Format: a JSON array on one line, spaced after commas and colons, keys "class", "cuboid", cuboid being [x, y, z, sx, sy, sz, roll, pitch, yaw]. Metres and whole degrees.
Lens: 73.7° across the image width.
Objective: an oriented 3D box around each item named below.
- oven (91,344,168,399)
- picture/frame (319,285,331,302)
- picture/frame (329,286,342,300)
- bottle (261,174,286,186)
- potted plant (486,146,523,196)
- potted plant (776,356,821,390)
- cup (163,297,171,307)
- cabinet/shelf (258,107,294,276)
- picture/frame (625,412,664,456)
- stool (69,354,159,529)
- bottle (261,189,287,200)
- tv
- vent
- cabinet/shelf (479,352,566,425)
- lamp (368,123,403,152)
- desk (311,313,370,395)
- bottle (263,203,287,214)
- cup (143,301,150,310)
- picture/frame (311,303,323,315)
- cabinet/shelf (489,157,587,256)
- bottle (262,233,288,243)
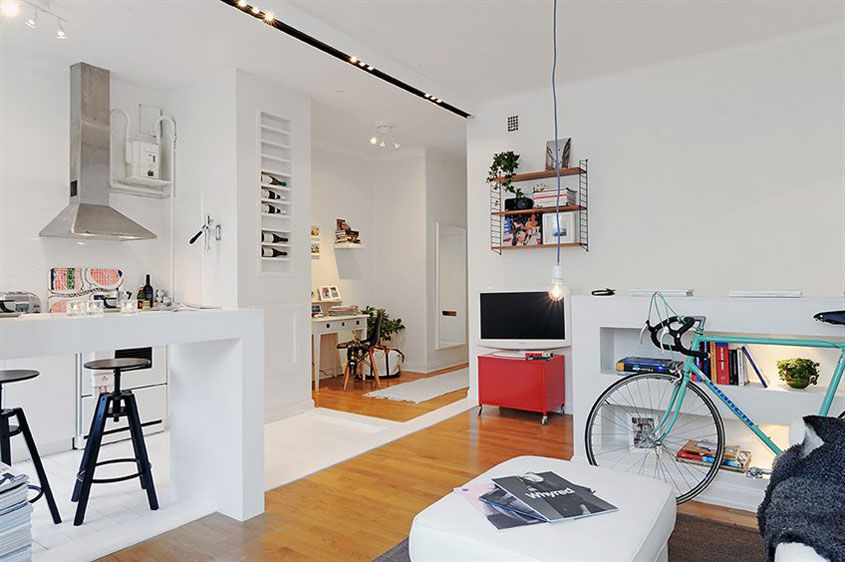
[{"class": "oven", "cuboid": [-2.522, 0.770, 4.780, 0.367, 0.465, 0.730, 1, 1, 44]}, {"class": "picture/frame", "cuboid": [-1.368, 0.177, 7.808, 0.084, 0.219, 0.232, -14, -8, 36]}, {"class": "picture/frame", "cuboid": [-1.245, 0.167, 7.936, 0.051, 0.172, 0.197, -10, -8, 32]}, {"class": "bottle", "cuboid": [-1.615, -1.091, 6.092, 0.118, 0.133, 0.316, 6, 12, 28]}, {"class": "potted plant", "cuboid": [0.916, -1.212, 6.307, 0.275, 0.496, 0.514, 4, -3, -40]}, {"class": "potted plant", "cuboid": [2.751, 0.665, 4.124, 0.243, 0.154, 0.234, -1, -4, -15]}, {"class": "cup", "cuboid": [-2.278, 0.182, 4.982, 0.050, 0.047, 0.051, -1, 5, 0]}, {"class": "cabinet/shelf", "cuboid": [-1.588, -1.061, 6.070, 0.398, 1.555, 0.183, 0, 6, -7]}, {"class": "picture/frame", "cuboid": [1.729, 1.194, 4.363, 0.200, 0.396, 0.535, 4, 12, 19]}, {"class": "stool", "cuboid": [-2.276, 1.107, 4.002, 0.619, 0.988, 0.629, 10, -5, -26]}, {"class": "bottle", "cuboid": [-1.621, -0.941, 6.097, 0.119, 0.118, 0.310, 8, 13, 35]}, {"class": "tv", "cuboid": [1.136, 0.462, 6.054, 0.757, 0.504, 0.204, -1, -4, 20]}, {"class": "vent", "cuboid": [-3.241, -1.256, 5.575, 0.588, 1.596, 0.869, 14, 13, 27]}, {"class": "cabinet/shelf", "cuboid": [1.049, 1.089, 6.057, 0.834, 0.532, 0.497, 0, 4, 34]}, {"class": "lamp", "cuboid": [-0.511, -1.954, 7.658, 0.355, 0.100, 0.343, -1, 1, -29]}, {"class": "desk", "cuboid": [-1.360, 0.907, 7.643, 0.709, 0.935, 1.153, 4, 2, 28]}, {"class": "bottle", "cuboid": [-1.618, -0.762, 6.121, 0.110, 0.082, 0.281, 3, -2, 40]}, {"class": "cup", "cuboid": [-2.543, 0.222, 5.156, 0.058, 0.051, 0.056, 1, 1, 0]}, {"class": "picture/frame", "cuboid": [-1.423, 0.373, 7.533, 0.048, 0.124, 0.190, -10, -7, 42]}, {"class": "cabinet/shelf", "cuboid": [1.214, -0.736, 6.071, 1.132, 0.866, 0.240, 2, 1, 43]}, {"class": "bottle", "cuboid": [-1.601, -0.469, 6.077, 0.118, 0.128, 0.316, 8, 13, 35]}]
